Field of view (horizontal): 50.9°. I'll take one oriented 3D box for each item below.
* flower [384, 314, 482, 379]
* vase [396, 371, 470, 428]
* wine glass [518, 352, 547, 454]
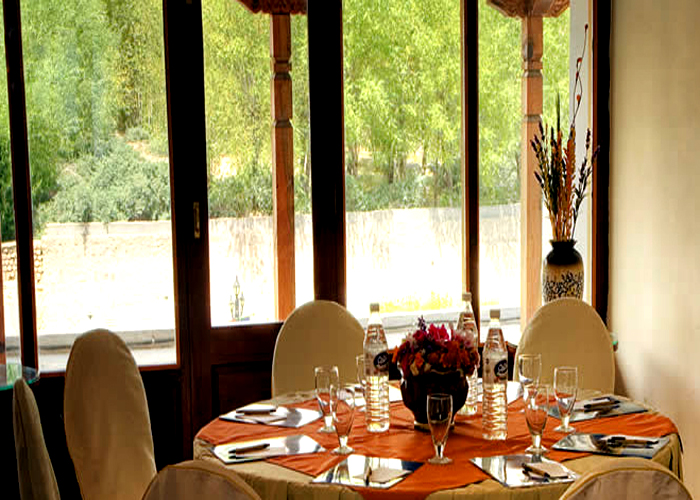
[{"bbox_3d":[0.372,0.429,3.224,0.377,0.236,0.174,-5,-3,11],"label":"flower"},{"bbox_3d":[0.362,0.614,3.149,0.192,0.199,0.226,-1,-4,9],"label":"vase"},{"bbox_3d":[0.771,0.645,3.078,0.107,0.400,0.266,-3,-2,13],"label":"wine glass"}]
